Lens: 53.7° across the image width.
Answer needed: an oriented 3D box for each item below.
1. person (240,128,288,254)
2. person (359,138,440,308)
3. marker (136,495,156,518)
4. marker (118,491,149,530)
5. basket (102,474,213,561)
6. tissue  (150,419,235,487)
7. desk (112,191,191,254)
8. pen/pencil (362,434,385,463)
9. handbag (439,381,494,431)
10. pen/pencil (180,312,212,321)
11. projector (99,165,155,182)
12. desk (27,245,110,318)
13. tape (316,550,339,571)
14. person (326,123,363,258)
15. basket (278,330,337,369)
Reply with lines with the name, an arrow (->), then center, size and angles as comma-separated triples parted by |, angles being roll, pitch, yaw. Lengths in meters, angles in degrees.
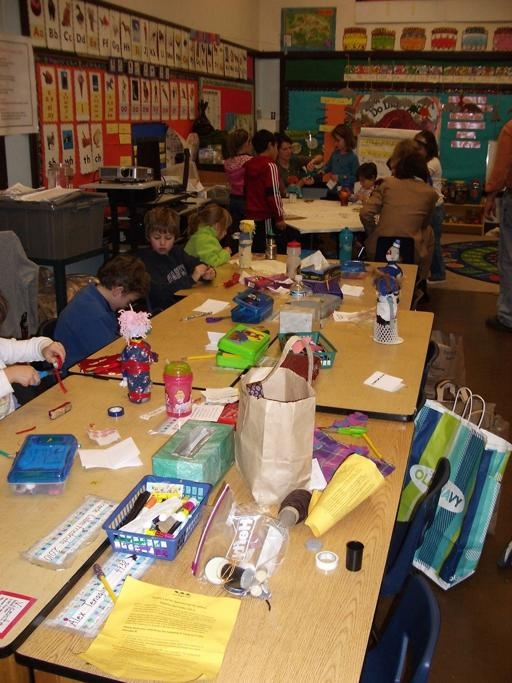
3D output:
person -> 0.067, -1.376, 4.751 | 0.377, 1.155, 0.774 | -4, 20, 0
person -> 1.316, -1.096, 4.626 | 0.590, 1.553, 0.545 | -6, 53, 10
marker -> -0.227, 0.336, 1.038 | 0.011, 0.009, 0.057 | 12, 23, 8
marker -> -0.247, 0.342, 1.024 | 0.017, 0.013, 0.079 | 22, 28, 1
basket -> -0.197, 0.336, 0.997 | 0.119, 0.046, 0.145 | 7, 25, 15
tissue  -> -0.148, 0.253, 1.186 | 0.114, 0.108, 0.211 | 6, 21, 14
desk -> -0.916, -0.989, 4.190 | 0.456, 0.413, 0.880 | 7, 30, 5
pen/pencil -> 0.312, 0.286, 1.351 | 0.022, 0.012, 0.097 | -8, 20, -3
handbag -> 1.064, 0.325, 2.562 | 0.244, 0.213, 0.095 | 27, -1, -18
pen/pencil -> -0.298, -0.124, 2.481 | 0.137, 0.017, 0.016 | -17, -1, -35
projector -> -1.206, -1.535, 4.635 | 0.469, 0.143, 0.251 | -8, 21, -11
desk -> -1.522, -0.530, 3.950 | 0.502, 0.497, 0.504 | 15, 22, 25
tape -> 0.129, 0.401, 0.929 | 0.022, 0.008, 0.022 | 13, 24, 26
person -> 1.054, -2.063, 6.471 | 0.404, 1.273, 0.438 | 23, 42, 33
basket -> 0.247, 0.017, 1.953 | 0.141, 0.058, 0.177 | 3, 25, 3
